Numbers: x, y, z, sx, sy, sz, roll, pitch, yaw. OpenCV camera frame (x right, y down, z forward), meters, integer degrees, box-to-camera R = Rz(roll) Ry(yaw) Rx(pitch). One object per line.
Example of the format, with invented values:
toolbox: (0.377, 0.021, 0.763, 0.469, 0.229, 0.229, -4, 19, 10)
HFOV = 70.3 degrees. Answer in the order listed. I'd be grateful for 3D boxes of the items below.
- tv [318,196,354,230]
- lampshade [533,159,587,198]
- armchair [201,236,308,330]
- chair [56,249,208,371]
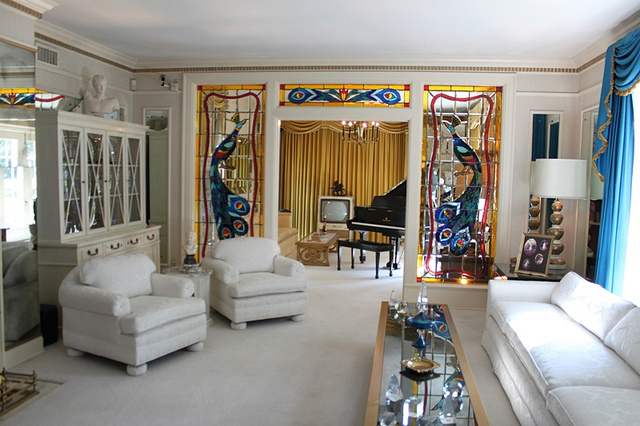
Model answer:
tv: (0.386, 0.042, 11.250, 0.825, 0.804, 0.604, 1, -8, 6)
lampshade: (3.103, -0.441, 5.875, 0.608, 0.489, 0.282, 7, 13, 24)
armchair: (-0.898, 0.892, 6.226, 1.284, 0.979, 1.226, 0, 6, -24)
chair: (-2.101, 1.038, 5.222, 1.382, 1.069, 1.116, 2, 3, 36)
